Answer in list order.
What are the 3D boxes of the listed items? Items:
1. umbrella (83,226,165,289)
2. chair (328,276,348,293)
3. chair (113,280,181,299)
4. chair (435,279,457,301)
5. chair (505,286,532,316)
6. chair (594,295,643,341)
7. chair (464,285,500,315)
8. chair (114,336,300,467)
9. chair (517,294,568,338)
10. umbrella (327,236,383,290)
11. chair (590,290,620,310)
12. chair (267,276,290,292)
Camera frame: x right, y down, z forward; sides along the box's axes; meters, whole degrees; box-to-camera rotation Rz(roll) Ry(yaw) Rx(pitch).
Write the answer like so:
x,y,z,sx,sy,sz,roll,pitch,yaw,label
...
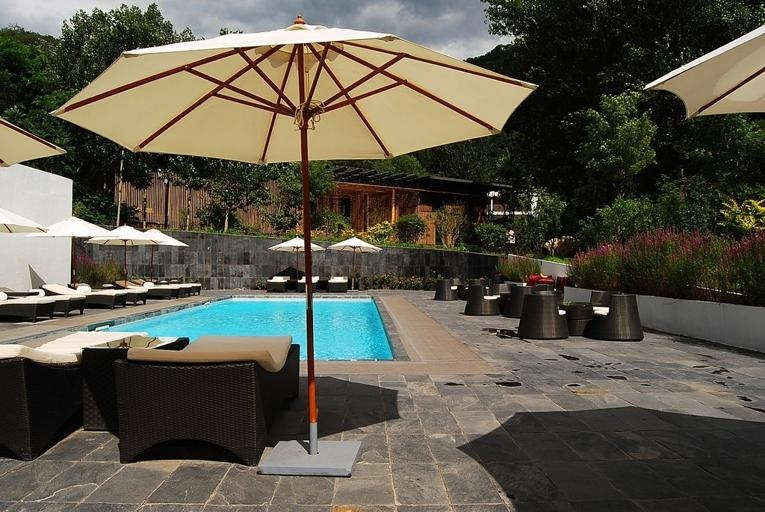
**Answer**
x,y,z,sx,sy,sz,roll,pitch,yaw,label
-8.378,0.033,16.109,1.974,1.968,2.056,3,4,29,umbrella
-1.879,1.211,20.935,0.595,0.479,0.618,-1,-10,-2,chair
-8.039,1.127,16.771,1.561,0.583,0.941,-1,-1,12,chair
2.280,1.230,17.820,0.730,0.673,0.732,-2,-1,12,chair
3.339,1.153,12.359,0.759,0.815,0.813,1,-1,3,chair
4.608,1.207,9.624,0.894,0.828,0.872,2,-6,19,chair
2.638,1.134,13.125,0.813,0.700,0.805,-2,-3,9,chair
-1.711,1.248,5.495,1.293,0.971,2.440,2,5,2,chair
3.052,1.186,9.540,0.837,0.701,0.863,-1,-7,1,chair
-1.268,0.394,21.533,2.246,2.144,2.407,1,-2,42,umbrella
4.784,0.932,10.872,0.486,0.311,0.488,0,-2,-3,chair
-4.471,1.204,20.945,0.603,0.405,0.817,0,2,1,chair
